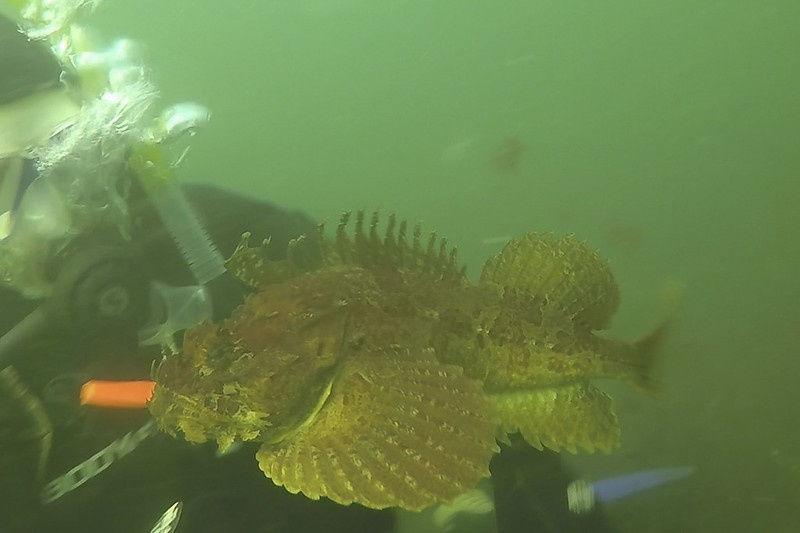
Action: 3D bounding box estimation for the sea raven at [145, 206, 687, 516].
[{"bbox_3d":[0.031,0.122,1.250,0.664,0.240,0.380,-2,78,-3],"label":"sea raven"}]
